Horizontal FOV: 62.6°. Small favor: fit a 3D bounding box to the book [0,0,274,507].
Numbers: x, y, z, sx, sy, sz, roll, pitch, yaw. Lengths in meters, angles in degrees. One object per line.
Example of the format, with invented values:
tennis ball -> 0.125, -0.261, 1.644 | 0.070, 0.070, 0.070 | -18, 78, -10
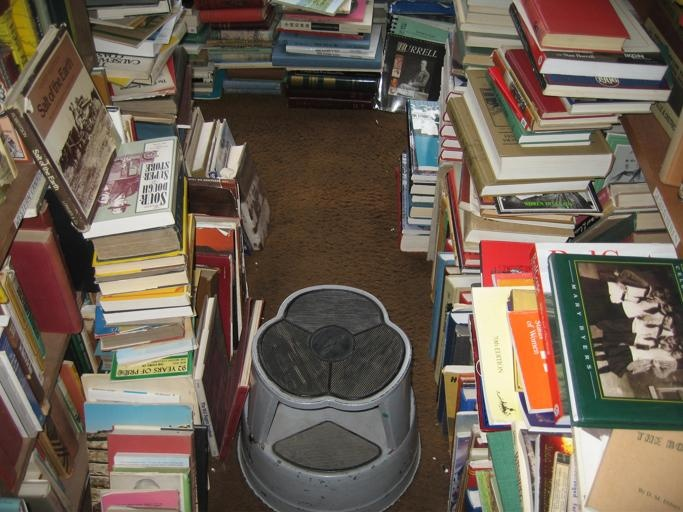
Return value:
book -> -0.495, 0.159, 1.783 | 0.893, 0.317, 1.189 | -1, 72, -1
